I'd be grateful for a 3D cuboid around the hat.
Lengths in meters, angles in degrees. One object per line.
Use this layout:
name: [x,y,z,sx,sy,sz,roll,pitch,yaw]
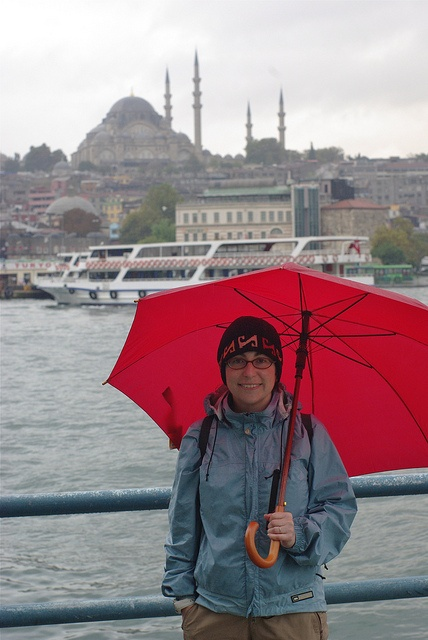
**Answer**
hat: [0.115,0.091,4.505,0.152,0.187,0.222,1,-25,0]
